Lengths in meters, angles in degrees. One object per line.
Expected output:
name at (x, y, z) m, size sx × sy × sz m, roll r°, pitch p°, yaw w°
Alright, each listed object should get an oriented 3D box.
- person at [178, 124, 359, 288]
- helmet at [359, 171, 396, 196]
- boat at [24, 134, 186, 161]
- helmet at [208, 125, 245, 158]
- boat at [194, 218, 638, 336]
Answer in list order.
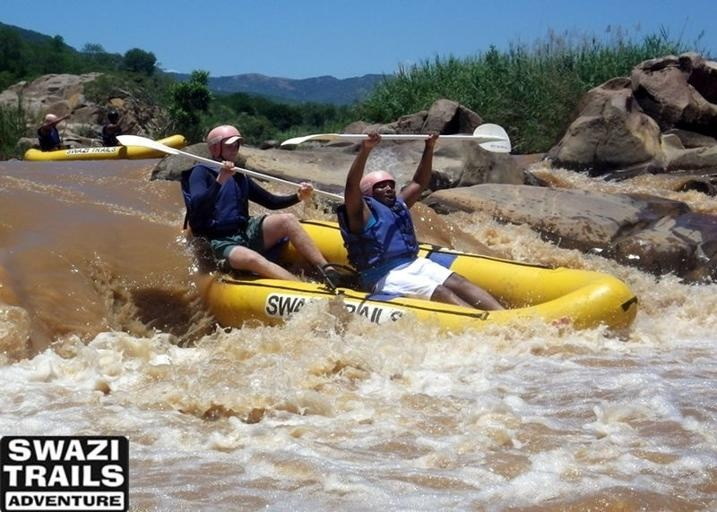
person at (-0.903, -0.515, 8.903) m, size 2.117 × 1.445 × 1.044 m, roll 13°, pitch 16°, yaw 32°
helmet at (0.173, -0.736, 8.957) m, size 0.252 × 0.227 × 0.308 m, roll -21°, pitch 15°, yaw -38°
boat at (-4.825, -1.865, 15.730) m, size 2.406 × 0.342 × 1.063 m, roll -1°, pitch 5°, yaw 8°
helmet at (-1.422, -1.234, 9.264) m, size 0.433 × 0.331 × 0.311 m, roll 6°, pitch 22°, yaw 27°
boat at (0.587, 0.378, 8.457) m, size 3.453 × 0.593 × 1.554 m, roll 7°, pitch 22°, yaw 17°
